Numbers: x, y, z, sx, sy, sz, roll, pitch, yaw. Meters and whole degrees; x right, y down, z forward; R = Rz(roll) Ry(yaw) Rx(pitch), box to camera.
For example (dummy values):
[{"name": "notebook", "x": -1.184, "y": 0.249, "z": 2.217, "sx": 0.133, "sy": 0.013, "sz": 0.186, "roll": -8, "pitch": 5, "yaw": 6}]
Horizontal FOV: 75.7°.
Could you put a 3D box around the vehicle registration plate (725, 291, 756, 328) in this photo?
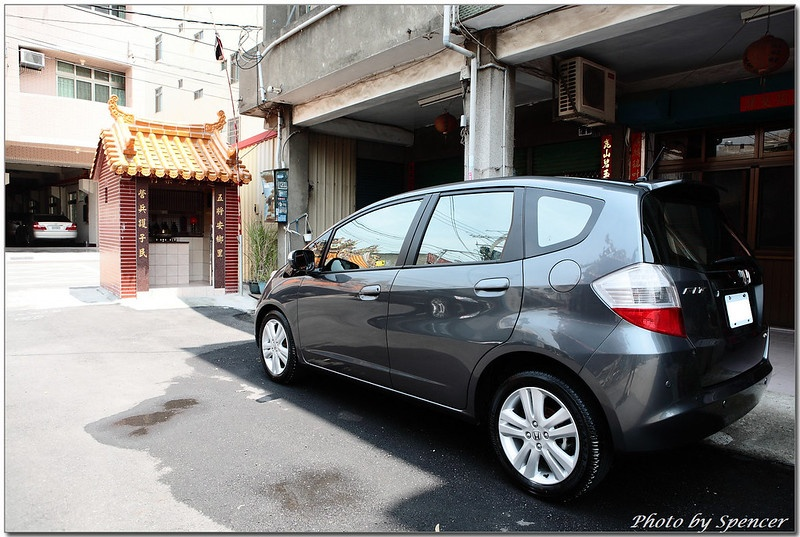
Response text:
[{"name": "vehicle registration plate", "x": 2.736, "y": 0.324, "z": 4.108, "sx": 0.427, "sy": 0.258, "sz": 0.092, "roll": -9, "pitch": 16, "yaw": -36}]

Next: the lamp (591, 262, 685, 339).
[{"name": "lamp", "x": 1.800, "y": 0.201, "z": 3.789, "sx": 0.442, "sy": 0.329, "sz": 0.589, "roll": -31, "pitch": 31, "yaw": -27}]

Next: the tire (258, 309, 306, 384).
[{"name": "tire", "x": -1.418, "y": 0.929, "z": 6.232, "sx": 0.283, "sy": 0.870, "sz": 0.879, "roll": -1, "pitch": 10, "yaw": -42}]

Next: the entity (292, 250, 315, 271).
[{"name": "entity", "x": -1.061, "y": -0.089, "z": 5.684, "sx": 0.246, "sy": 0.221, "sz": 0.094, "roll": 0, "pitch": 1, "yaw": -4}]

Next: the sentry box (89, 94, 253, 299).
[{"name": "sentry box", "x": -6.090, "y": -1.858, "z": 12.943, "sx": 2.836, "sy": 3.809, "sz": 2.847, "roll": -1, "pitch": 5, "yaw": -35}]

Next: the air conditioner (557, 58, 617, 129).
[{"name": "air conditioner", "x": 3.121, "y": -2.907, "z": 8.650, "sx": 1.127, "sy": 0.910, "sz": 0.643, "roll": -3, "pitch": 5, "yaw": -44}]

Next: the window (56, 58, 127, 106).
[{"name": "window", "x": -14.621, "y": -8.738, "z": 24.310, "sx": 0.968, "sy": 1.714, "sz": 2.797, "roll": 13, "pitch": 18, "yaw": 42}]

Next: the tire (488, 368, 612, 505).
[{"name": "tire", "x": 1.210, "y": 1.331, "z": 4.175, "sx": 0.325, "sy": 0.986, "sz": 0.997, "roll": 3, "pitch": -5, "yaw": -38}]
